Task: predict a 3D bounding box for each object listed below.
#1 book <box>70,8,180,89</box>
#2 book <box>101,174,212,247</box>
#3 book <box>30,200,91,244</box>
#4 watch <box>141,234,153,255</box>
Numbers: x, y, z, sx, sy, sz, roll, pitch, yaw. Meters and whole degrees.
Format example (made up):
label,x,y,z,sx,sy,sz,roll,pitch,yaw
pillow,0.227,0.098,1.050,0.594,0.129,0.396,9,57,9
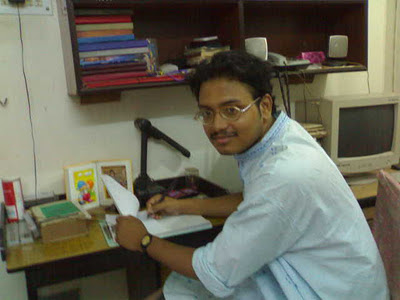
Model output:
label,x,y,z,sx,sy,sz,roll,pitch,yaw
book,-0.441,-0.505,2.044,0.609,0.372,0.604,-4,-1,-12
book,-0.203,0.296,1.654,0.411,0.274,0.303,-6,23,-18
book,-0.663,0.306,1.656,0.187,0.074,0.192,-7,28,-33
watch,-0.208,0.377,1.408,0.023,0.068,0.047,4,2,-9
